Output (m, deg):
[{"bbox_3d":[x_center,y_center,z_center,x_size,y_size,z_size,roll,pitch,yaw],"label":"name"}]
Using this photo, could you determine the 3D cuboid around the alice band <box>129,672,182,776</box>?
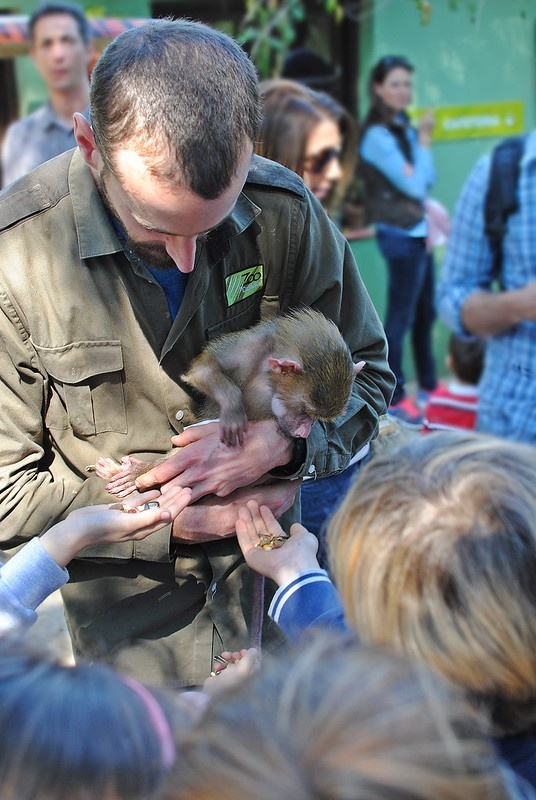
[{"bbox_3d":[-0.181,0.526,1.332,0.078,0.036,0.094,-25,74,1],"label":"alice band"}]

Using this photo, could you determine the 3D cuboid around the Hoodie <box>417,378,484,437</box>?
[{"bbox_3d":[1.129,0.036,5.028,0.328,0.409,0.245,10,-5,31],"label":"Hoodie"}]
